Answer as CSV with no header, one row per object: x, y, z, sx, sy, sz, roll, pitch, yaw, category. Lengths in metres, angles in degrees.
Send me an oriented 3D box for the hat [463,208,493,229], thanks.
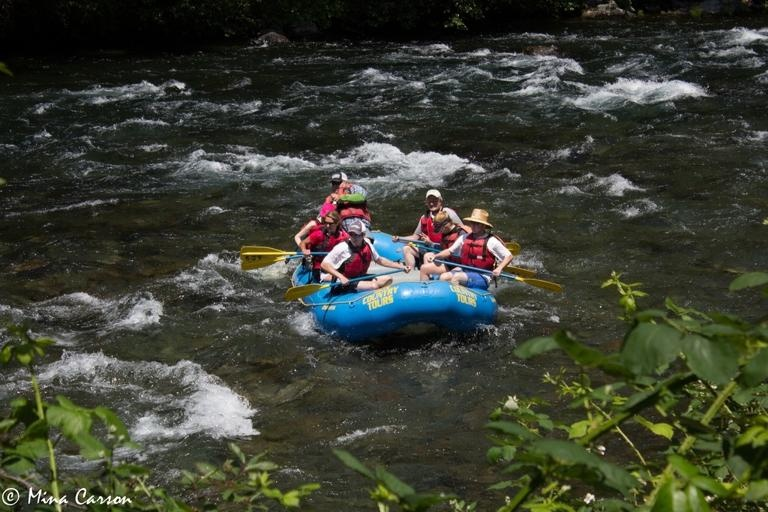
1.285,-0.506,9.745,0.271,0.348,0.323,-1,27,12,hat

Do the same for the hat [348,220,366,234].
-0.367,-0.379,9.584,0.195,0.124,0.238,15,-4,17,hat

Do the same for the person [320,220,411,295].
-0.213,0.208,9.768,1.431,1.119,0.829,2,23,0,person
